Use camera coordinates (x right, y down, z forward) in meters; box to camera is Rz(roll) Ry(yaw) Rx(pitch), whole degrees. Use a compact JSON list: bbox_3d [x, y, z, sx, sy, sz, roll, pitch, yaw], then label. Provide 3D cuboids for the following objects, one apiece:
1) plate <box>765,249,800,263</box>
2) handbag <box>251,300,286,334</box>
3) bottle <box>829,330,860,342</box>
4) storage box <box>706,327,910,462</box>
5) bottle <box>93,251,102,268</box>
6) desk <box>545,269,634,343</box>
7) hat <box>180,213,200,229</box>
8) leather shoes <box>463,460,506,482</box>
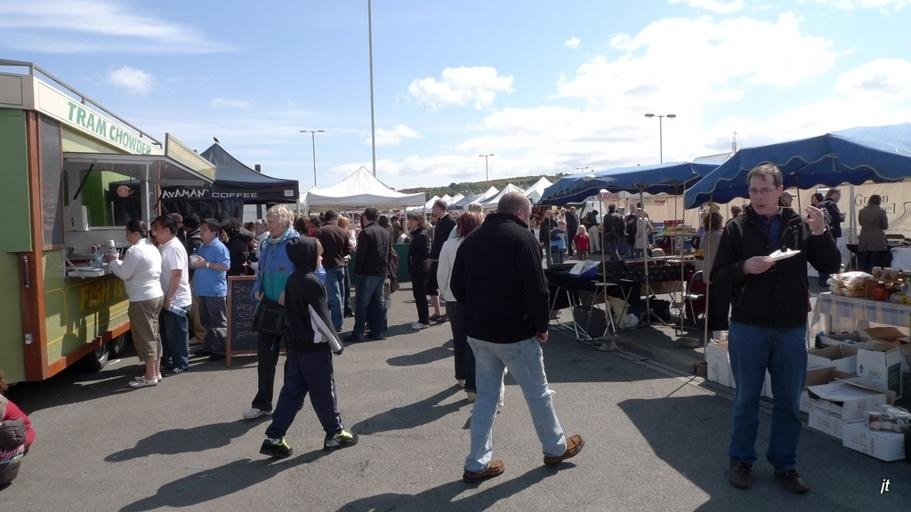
[{"bbox_3d":[3.522,-0.010,6.145,0.440,0.131,0.197,-6,3,-44],"label":"plate"},{"bbox_3d":[-2.371,0.792,7.514,0.509,0.422,0.269,14,5,-2],"label":"handbag"},{"bbox_3d":[5.823,1.160,8.451,0.531,0.187,0.168,-3,0,21],"label":"bottle"},{"bbox_3d":[4.314,1.729,6.943,1.165,2.042,0.742,12,-26,6],"label":"storage box"},{"bbox_3d":[-5.269,0.051,8.421,0.069,0.225,0.141,-6,2,-9],"label":"bottle"},{"bbox_3d":[2.549,0.810,11.524,1.469,1.256,2.051,1,2,-10],"label":"desk"},{"bbox_3d":[-4.815,-0.627,10.304,0.296,0.275,0.354,4,12,2],"label":"hat"},{"bbox_3d":[0.326,2.443,6.579,0.453,0.160,0.184,-11,11,-22],"label":"leather shoes"}]
